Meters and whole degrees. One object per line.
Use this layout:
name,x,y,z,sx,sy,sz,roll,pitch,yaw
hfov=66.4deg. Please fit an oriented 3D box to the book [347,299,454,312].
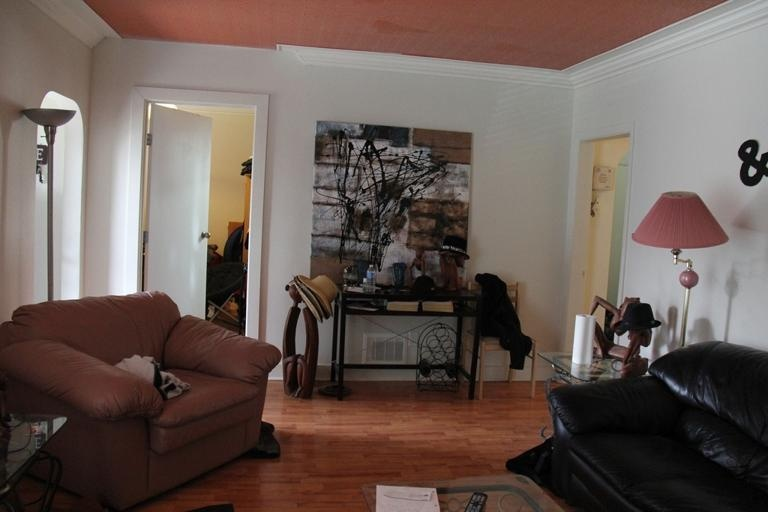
book,0.196,0.462,5.624,0.972,0.109,0.242,3,13,-3

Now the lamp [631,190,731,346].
lamp,2.318,0.106,4.694,0.705,1.240,0.415,6,13,12

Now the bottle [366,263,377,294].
bottle,-0.108,0.207,5.582,0.098,0.215,0.249,3,13,-1

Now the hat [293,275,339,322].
hat,-0.610,0.377,5.486,0.469,0.397,0.281,-2,14,-23

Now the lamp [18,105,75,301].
lamp,-2.777,-0.435,4.992,0.355,1.610,0.683,-6,16,-33

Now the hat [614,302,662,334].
hat,1.980,0.475,4.615,0.293,0.159,0.259,-14,0,19
